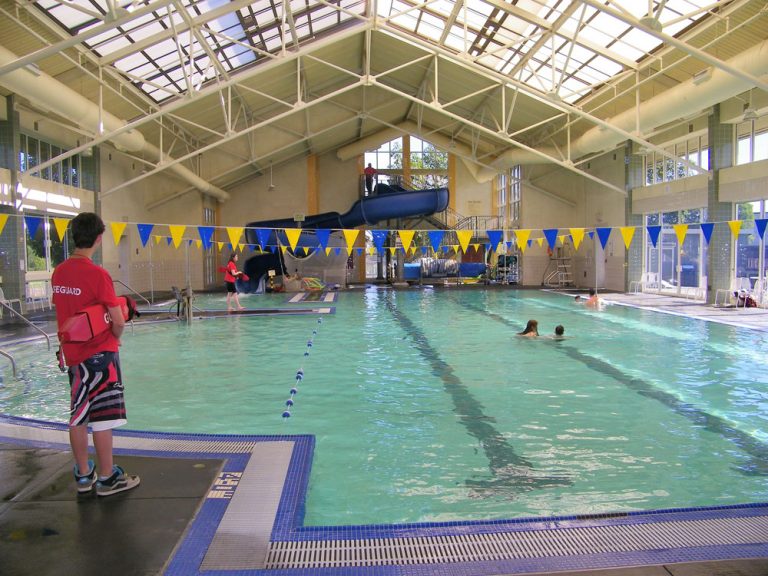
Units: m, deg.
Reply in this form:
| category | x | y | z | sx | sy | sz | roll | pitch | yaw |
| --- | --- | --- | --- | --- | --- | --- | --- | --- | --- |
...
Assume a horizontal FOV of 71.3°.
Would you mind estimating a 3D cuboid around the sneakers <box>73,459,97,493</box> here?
| category | x | y | z | sx | sy | sz | roll | pitch | yaw |
| --- | --- | --- | --- | --- | --- | --- | --- | --- | --- |
| sneakers | -1.918 | 1.208 | 3.458 | 0.089 | 0.103 | 0.238 | -3 | 9 | -15 |

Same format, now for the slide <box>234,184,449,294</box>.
| category | x | y | z | sx | sy | sz | roll | pitch | yaw |
| --- | --- | --- | --- | --- | --- | --- | --- | --- | --- |
| slide | -1.484 | -2.151 | 21.281 | 6.752 | 3.418 | 4.443 | -3 | 0 | -10 |

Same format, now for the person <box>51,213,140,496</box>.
| category | x | y | z | sx | sy | sz | roll | pitch | yaw |
| --- | --- | --- | --- | --- | --- | --- | --- | --- | --- |
| person | -1.836 | 0.404 | 3.411 | 0.491 | 1.758 | 0.319 | 1 | 5 | 16 |

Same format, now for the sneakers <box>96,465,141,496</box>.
| category | x | y | z | sx | sy | sz | roll | pitch | yaw |
| --- | --- | --- | --- | --- | --- | --- | --- | --- | --- |
| sneakers | -1.678 | 1.221 | 3.467 | 0.107 | 0.138 | 0.317 | 3 | 2 | 41 |
